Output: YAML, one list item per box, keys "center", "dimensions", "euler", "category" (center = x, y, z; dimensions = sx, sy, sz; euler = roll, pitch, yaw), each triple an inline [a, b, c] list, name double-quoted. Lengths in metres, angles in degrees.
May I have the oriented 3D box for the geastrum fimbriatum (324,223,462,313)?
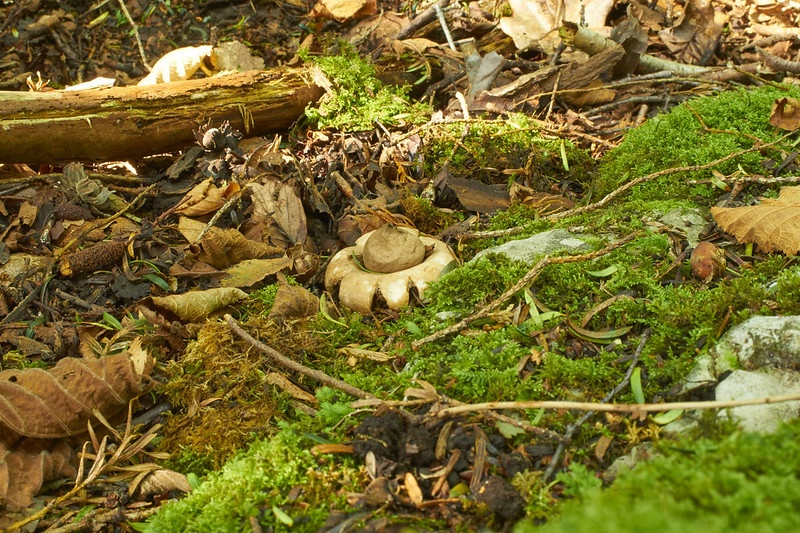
- center: [-0.027, 0.022, 4.555]
  dimensions: [0.701, 0.343, 0.697]
  euler: [-39, 37, -24]
  category: "geastrum fimbriatum"
